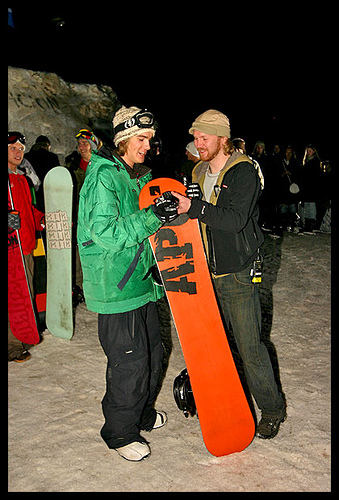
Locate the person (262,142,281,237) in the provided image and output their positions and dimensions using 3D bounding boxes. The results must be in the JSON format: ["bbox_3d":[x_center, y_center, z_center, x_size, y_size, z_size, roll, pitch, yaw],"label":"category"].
[{"bbox_3d":[2.736,-1.506,10.008,0.368,2.485,0.519,4,4,4],"label":"person"}]

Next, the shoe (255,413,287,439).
[{"bbox_3d":[0.597,1.033,2.308,0.077,0.101,0.214,16,35,37],"label":"shoe"}]

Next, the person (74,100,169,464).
[{"bbox_3d":[-0.279,0.142,2.404,0.561,1.942,1.103,0,7,0],"label":"person"}]

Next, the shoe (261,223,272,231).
[{"bbox_3d":[2.484,-0.568,10.134,0.052,0.091,0.340,18,13,-17],"label":"shoe"}]

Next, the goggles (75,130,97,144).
[{"bbox_3d":[-1.099,-1.503,5.262,0.139,0.076,0.191,23,-11,25],"label":"goggles"}]

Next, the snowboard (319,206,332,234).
[{"bbox_3d":[3.895,-0.763,9.901,0.233,0.665,0.584,3,7,20],"label":"snowboard"}]

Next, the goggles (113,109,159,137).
[{"bbox_3d":[-0.167,-0.650,1.997,0.184,0.065,0.158,-20,6,10],"label":"goggles"}]

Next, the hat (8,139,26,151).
[{"bbox_3d":[-1.378,-0.975,3.635,0.055,0.065,0.196,3,7,21],"label":"hat"}]

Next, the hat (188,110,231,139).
[{"bbox_3d":[0.228,-0.716,2.225,0.198,0.115,0.150,8,-1,-38],"label":"hat"}]

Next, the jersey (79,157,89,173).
[{"bbox_3d":[-1.121,-1.127,5.221,0.105,0.208,0.332,-4,8,-32],"label":"jersey"}]

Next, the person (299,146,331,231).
[{"bbox_3d":[3.700,-1.518,9.948,0.661,2.072,0.873,5,8,37],"label":"person"}]

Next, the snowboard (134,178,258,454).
[{"bbox_3d":[0.053,0.124,2.374,0.454,1.963,0.289,-18,-3,-11],"label":"snowboard"}]

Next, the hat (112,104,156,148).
[{"bbox_3d":[-0.200,-0.647,2.053,0.230,0.203,0.172,-6,24,29],"label":"hat"}]
